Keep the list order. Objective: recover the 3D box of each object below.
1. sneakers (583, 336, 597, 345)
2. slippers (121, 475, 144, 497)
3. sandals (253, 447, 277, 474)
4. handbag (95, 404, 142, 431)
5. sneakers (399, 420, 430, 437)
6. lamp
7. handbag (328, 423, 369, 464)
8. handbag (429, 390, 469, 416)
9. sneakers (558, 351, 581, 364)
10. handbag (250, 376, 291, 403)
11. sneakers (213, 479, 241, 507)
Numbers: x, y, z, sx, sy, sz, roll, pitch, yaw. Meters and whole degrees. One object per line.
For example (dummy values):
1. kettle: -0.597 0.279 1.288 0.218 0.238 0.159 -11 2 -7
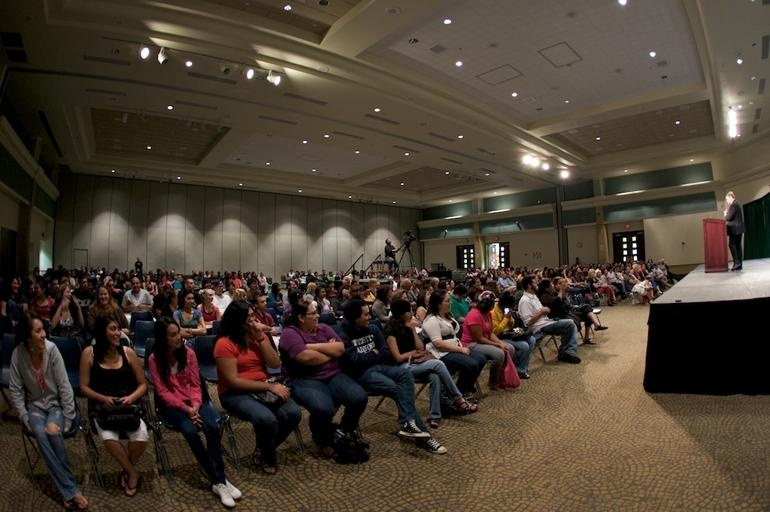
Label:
1. sneakers: 4.532 1.875 9.241 0.250 0.102 0.123 -1 0 -29
2. slippers: -2.827 2.569 4.716 0.196 0.171 0.240 -9 12 -36
3. sandals: -1.424 2.491 5.013 0.187 0.388 0.092 -23 -15 6
4. handbag: -2.923 1.800 4.637 0.332 0.139 0.341 3 -2 15
5. sneakers: 0.368 2.189 5.331 0.444 0.211 0.169 -2 -5 10
6. lamp: -4.321 -4.830 10.757 3.372 0.654 1.008 -6 11 -25
7. handbag: -0.489 2.384 5.281 0.571 0.265 0.280 -6 -10 39
8. handbag: 0.802 2.064 5.904 0.747 0.298 0.269 1 -9 -12
9. sneakers: 3.505 1.944 8.009 0.401 0.176 0.161 1 -7 39
10. handbag: -1.376 1.574 4.983 0.269 0.093 0.276 11 7 38
11. sneakers: -1.695 2.614 4.602 0.288 0.106 0.170 14 14 37
